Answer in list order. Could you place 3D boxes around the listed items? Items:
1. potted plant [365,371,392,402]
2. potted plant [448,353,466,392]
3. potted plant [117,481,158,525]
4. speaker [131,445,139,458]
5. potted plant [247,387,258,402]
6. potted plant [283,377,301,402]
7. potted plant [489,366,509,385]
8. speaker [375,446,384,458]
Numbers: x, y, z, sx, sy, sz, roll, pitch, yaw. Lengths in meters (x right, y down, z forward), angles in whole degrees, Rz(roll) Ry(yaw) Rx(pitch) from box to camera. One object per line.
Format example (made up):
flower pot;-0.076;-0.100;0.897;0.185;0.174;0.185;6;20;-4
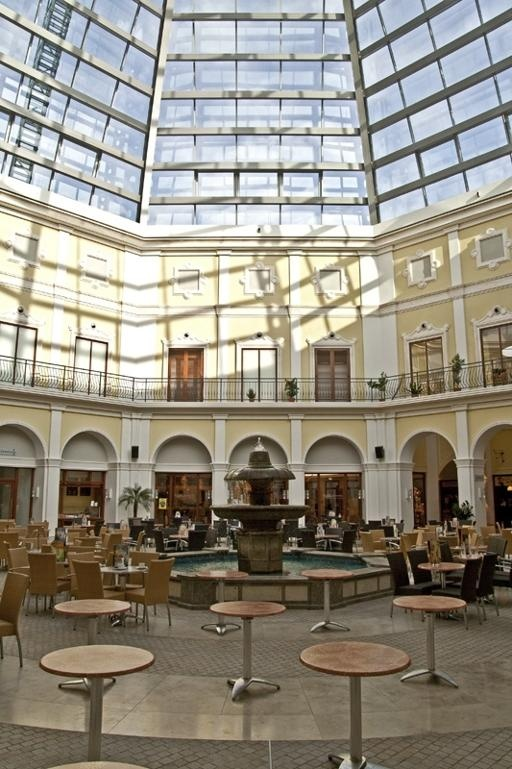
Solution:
potted plant;4.442;0.122;18.870;1.102;1.188;0.845;3;-8;-22
potted plant;6.425;-0.349;16.765;0.470;1.261;0.687;-9;-13;39
potted plant;-4.085;4.004;18.054;0.995;1.248;1.126;2;-19;-3
speaker;-4.238;2.403;18.172;0.243;0.466;0.284;2;-10;-14
potted plant;-0.170;0.414;18.672;0.368;0.508;0.364;9;-12;-37
potted plant;1.259;0.188;18.784;0.653;1.027;0.680;1;-14;0
potted plant;7.371;-0.218;15.703;0.474;0.543;0.389;-5;-11;24
speaker;4.375;2.400;18.409;0.327;0.507;0.245;-3;-11;31
